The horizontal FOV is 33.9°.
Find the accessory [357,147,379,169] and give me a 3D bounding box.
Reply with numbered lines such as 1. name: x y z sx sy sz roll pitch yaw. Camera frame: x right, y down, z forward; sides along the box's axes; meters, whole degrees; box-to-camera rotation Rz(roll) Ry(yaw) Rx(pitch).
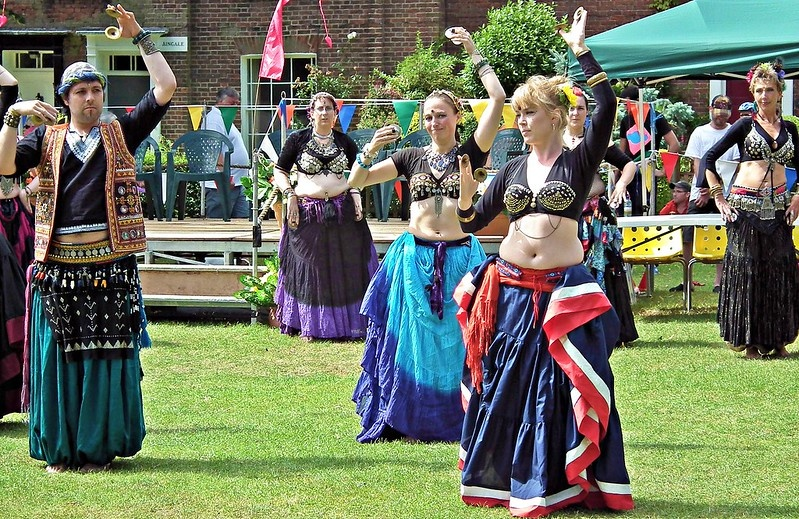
1. accessory: -0.298 -0.805 10.372 0.199 0.189 0.084 -17 47 -18

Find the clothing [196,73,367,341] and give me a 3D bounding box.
1. clothing: -0.779 -0.418 13.236 1.024 2.491 0.482 -3 15 -4

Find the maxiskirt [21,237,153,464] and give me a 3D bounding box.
1. maxiskirt: -2.384 0.702 9.827 0.915 1.619 0.590 -4 15 -10

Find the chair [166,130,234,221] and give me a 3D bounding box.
1. chair: -2.598 -1.136 17.175 1.369 1.414 1.164 0 6 -6

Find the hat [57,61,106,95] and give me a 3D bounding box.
1. hat: -2.411 -1.374 9.826 0.290 0.149 0.226 -17 0 -1

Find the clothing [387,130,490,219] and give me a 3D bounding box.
1. clothing: 0.276 -0.676 10.568 0.602 0.768 0.650 -3 -25 13

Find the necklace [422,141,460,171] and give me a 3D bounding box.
1. necklace: 0.310 -0.814 10.469 0.254 0.203 0.092 2 -22 5

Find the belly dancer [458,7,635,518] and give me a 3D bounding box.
1. belly dancer: 0.975 0.005 9.201 1.202 3.409 1.250 -1 15 2
